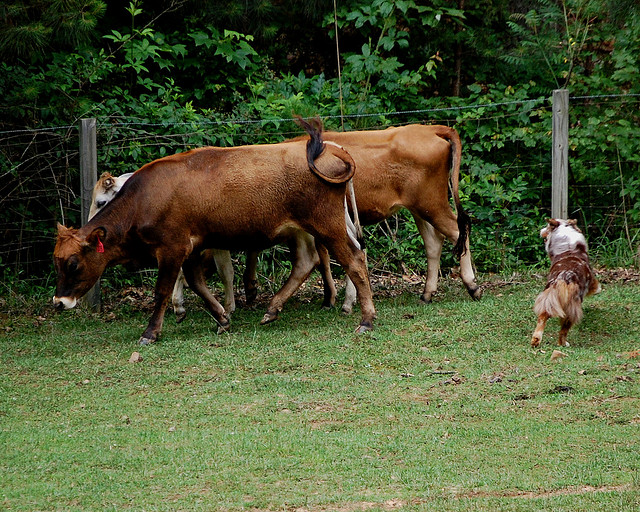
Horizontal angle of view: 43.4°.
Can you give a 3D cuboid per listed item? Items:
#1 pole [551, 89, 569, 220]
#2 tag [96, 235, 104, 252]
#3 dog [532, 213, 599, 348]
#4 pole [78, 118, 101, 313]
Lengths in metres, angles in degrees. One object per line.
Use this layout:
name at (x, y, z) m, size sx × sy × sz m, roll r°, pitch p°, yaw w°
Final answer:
pole at (2.787, -1.173, 9.273) m, size 0.239 × 1.476 × 0.186 m, roll 1°, pitch 3°, yaw -1°
tag at (-2.080, -0.106, 7.590) m, size 0.071 × 0.133 × 0.070 m, roll -1°, pitch 3°, yaw -23°
dog at (2.080, 0.113, 7.154) m, size 0.457 × 0.707 × 1.452 m, roll 3°, pitch 36°, yaw 11°
pole at (-2.583, -0.594, 9.050) m, size 0.323 × 3.023 × 0.338 m, roll -4°, pitch -38°, yaw -12°
